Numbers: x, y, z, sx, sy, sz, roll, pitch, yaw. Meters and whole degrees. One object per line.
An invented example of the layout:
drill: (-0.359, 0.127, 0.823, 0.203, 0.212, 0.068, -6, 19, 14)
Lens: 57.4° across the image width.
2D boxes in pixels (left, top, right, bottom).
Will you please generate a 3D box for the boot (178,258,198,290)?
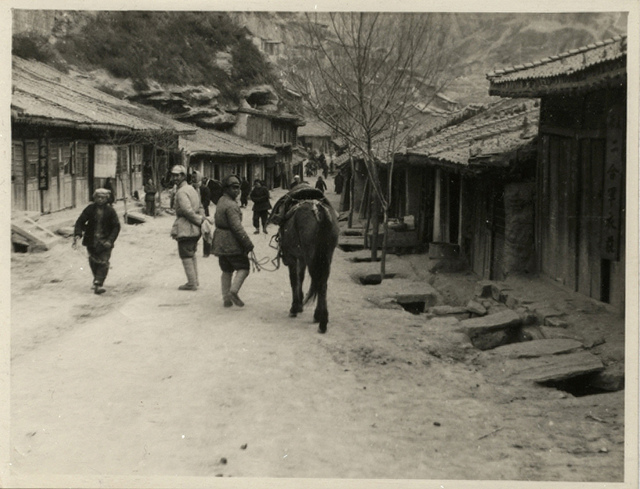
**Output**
boot: (-2.166, 0.494, 9.701, 0.299, 0.548, 0.198, 0, 6, -11)

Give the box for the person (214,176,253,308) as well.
person: (-1.296, -0.015, 8.865, 0.564, 1.999, 0.457, 0, 6, -10)

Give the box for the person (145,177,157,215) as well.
person: (-4.841, -1.268, 16.813, 0.277, 0.817, 0.494, -1, 7, -17)

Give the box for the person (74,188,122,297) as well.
person: (-3.524, -0.017, 9.345, 0.662, 1.716, 0.503, -1, 7, -22)

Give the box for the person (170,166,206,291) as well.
person: (-2.128, -0.237, 9.601, 0.514, 2.045, 0.455, -1, 6, -16)

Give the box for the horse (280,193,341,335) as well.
horse: (-0.271, 0.116, 9.105, 0.638, 1.868, 2.535, -7, 9, 12)

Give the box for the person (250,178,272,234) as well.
person: (-1.625, -0.998, 16.323, 0.554, 1.526, 0.532, -2, -14, -6)

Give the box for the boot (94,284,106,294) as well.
boot: (-3.553, 0.746, 9.562, 0.167, 0.184, 0.093, -2, 5, -6)

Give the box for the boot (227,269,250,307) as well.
boot: (-1.210, 0.683, 8.908, 0.255, 0.609, 0.356, 3, 7, 19)
